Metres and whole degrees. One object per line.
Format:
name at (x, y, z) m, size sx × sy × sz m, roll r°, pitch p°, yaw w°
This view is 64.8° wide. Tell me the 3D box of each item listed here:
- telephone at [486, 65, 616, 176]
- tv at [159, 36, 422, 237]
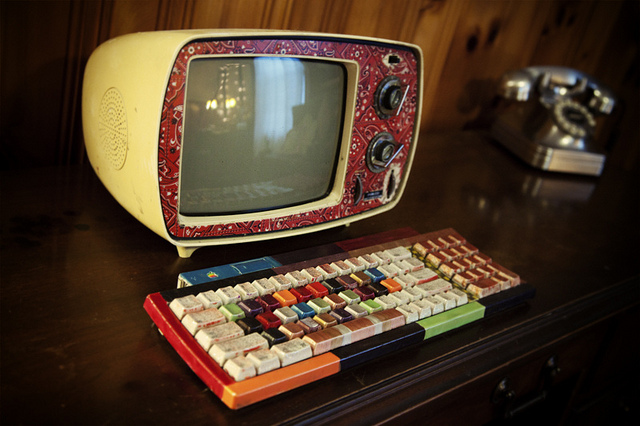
telephone at (0.720, -0.281, 1.500) m, size 0.348 × 0.260 × 0.270 m, roll -5°, pitch 29°, yaw -15°
tv at (-0.091, -0.194, 1.030) m, size 0.527 × 0.368 × 0.306 m, roll -6°, pitch 25°, yaw -23°
